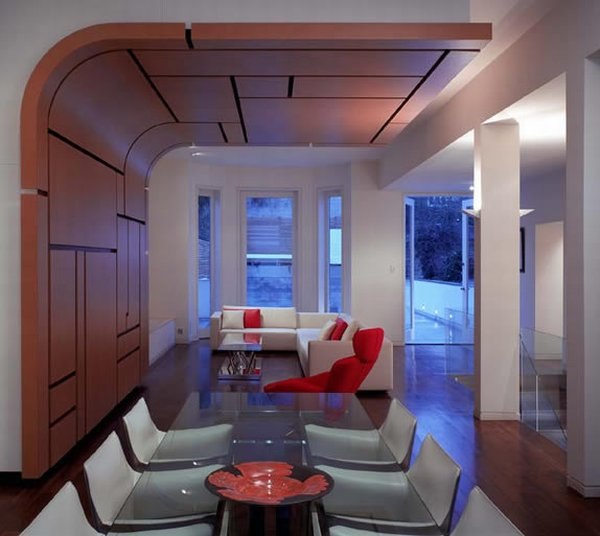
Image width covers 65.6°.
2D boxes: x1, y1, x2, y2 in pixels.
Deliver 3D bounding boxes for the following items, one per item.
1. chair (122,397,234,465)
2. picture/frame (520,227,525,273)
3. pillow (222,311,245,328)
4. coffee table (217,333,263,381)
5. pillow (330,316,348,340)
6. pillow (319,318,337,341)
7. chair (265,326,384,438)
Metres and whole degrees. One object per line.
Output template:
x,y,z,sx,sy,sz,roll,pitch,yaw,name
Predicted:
-0.699,0.968,2.715,0.457,0.363,0.504,-6,-4,-9,chair
3.709,-0.305,7.745,0.038,0.758,0.199,0,2,12,picture/frame
-1.214,0.925,8.479,0.291,0.354,0.106,2,-9,6,pillow
-0.890,1.304,7.010,0.598,0.393,1.406,-1,2,-5,coffee table
0.539,0.838,6.437,0.066,0.251,0.237,22,-10,-8,pillow
0.392,0.888,6.670,0.080,0.181,0.488,18,-13,-2,pillow
0.324,1.067,4.742,0.900,0.792,0.723,1,-2,14,chair
